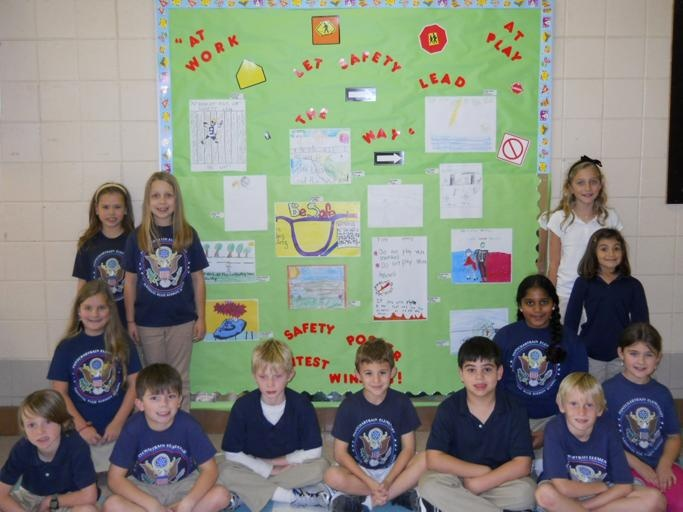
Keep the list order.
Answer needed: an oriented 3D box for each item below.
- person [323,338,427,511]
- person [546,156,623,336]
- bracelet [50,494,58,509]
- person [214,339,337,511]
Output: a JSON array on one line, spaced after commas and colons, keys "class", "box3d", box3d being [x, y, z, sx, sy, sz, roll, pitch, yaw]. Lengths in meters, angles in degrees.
[{"class": "person", "box3d": [0.174, 1.035, 4.527, 0.802, 1.122, 0.716, -3, 10, -6]}, {"class": "person", "box3d": [1.650, 0.066, 5.034, 0.614, 1.440, 0.384, 0, 8, 7]}, {"class": "bracelet", "box3d": [-1.578, 1.350, 4.106, 0.045, 0.065, 0.062, 0, 1, -10]}, {"class": "person", "box3d": [-0.419, 0.940, 4.630, 0.833, 1.102, 0.876, -1, 14, -16]}]
